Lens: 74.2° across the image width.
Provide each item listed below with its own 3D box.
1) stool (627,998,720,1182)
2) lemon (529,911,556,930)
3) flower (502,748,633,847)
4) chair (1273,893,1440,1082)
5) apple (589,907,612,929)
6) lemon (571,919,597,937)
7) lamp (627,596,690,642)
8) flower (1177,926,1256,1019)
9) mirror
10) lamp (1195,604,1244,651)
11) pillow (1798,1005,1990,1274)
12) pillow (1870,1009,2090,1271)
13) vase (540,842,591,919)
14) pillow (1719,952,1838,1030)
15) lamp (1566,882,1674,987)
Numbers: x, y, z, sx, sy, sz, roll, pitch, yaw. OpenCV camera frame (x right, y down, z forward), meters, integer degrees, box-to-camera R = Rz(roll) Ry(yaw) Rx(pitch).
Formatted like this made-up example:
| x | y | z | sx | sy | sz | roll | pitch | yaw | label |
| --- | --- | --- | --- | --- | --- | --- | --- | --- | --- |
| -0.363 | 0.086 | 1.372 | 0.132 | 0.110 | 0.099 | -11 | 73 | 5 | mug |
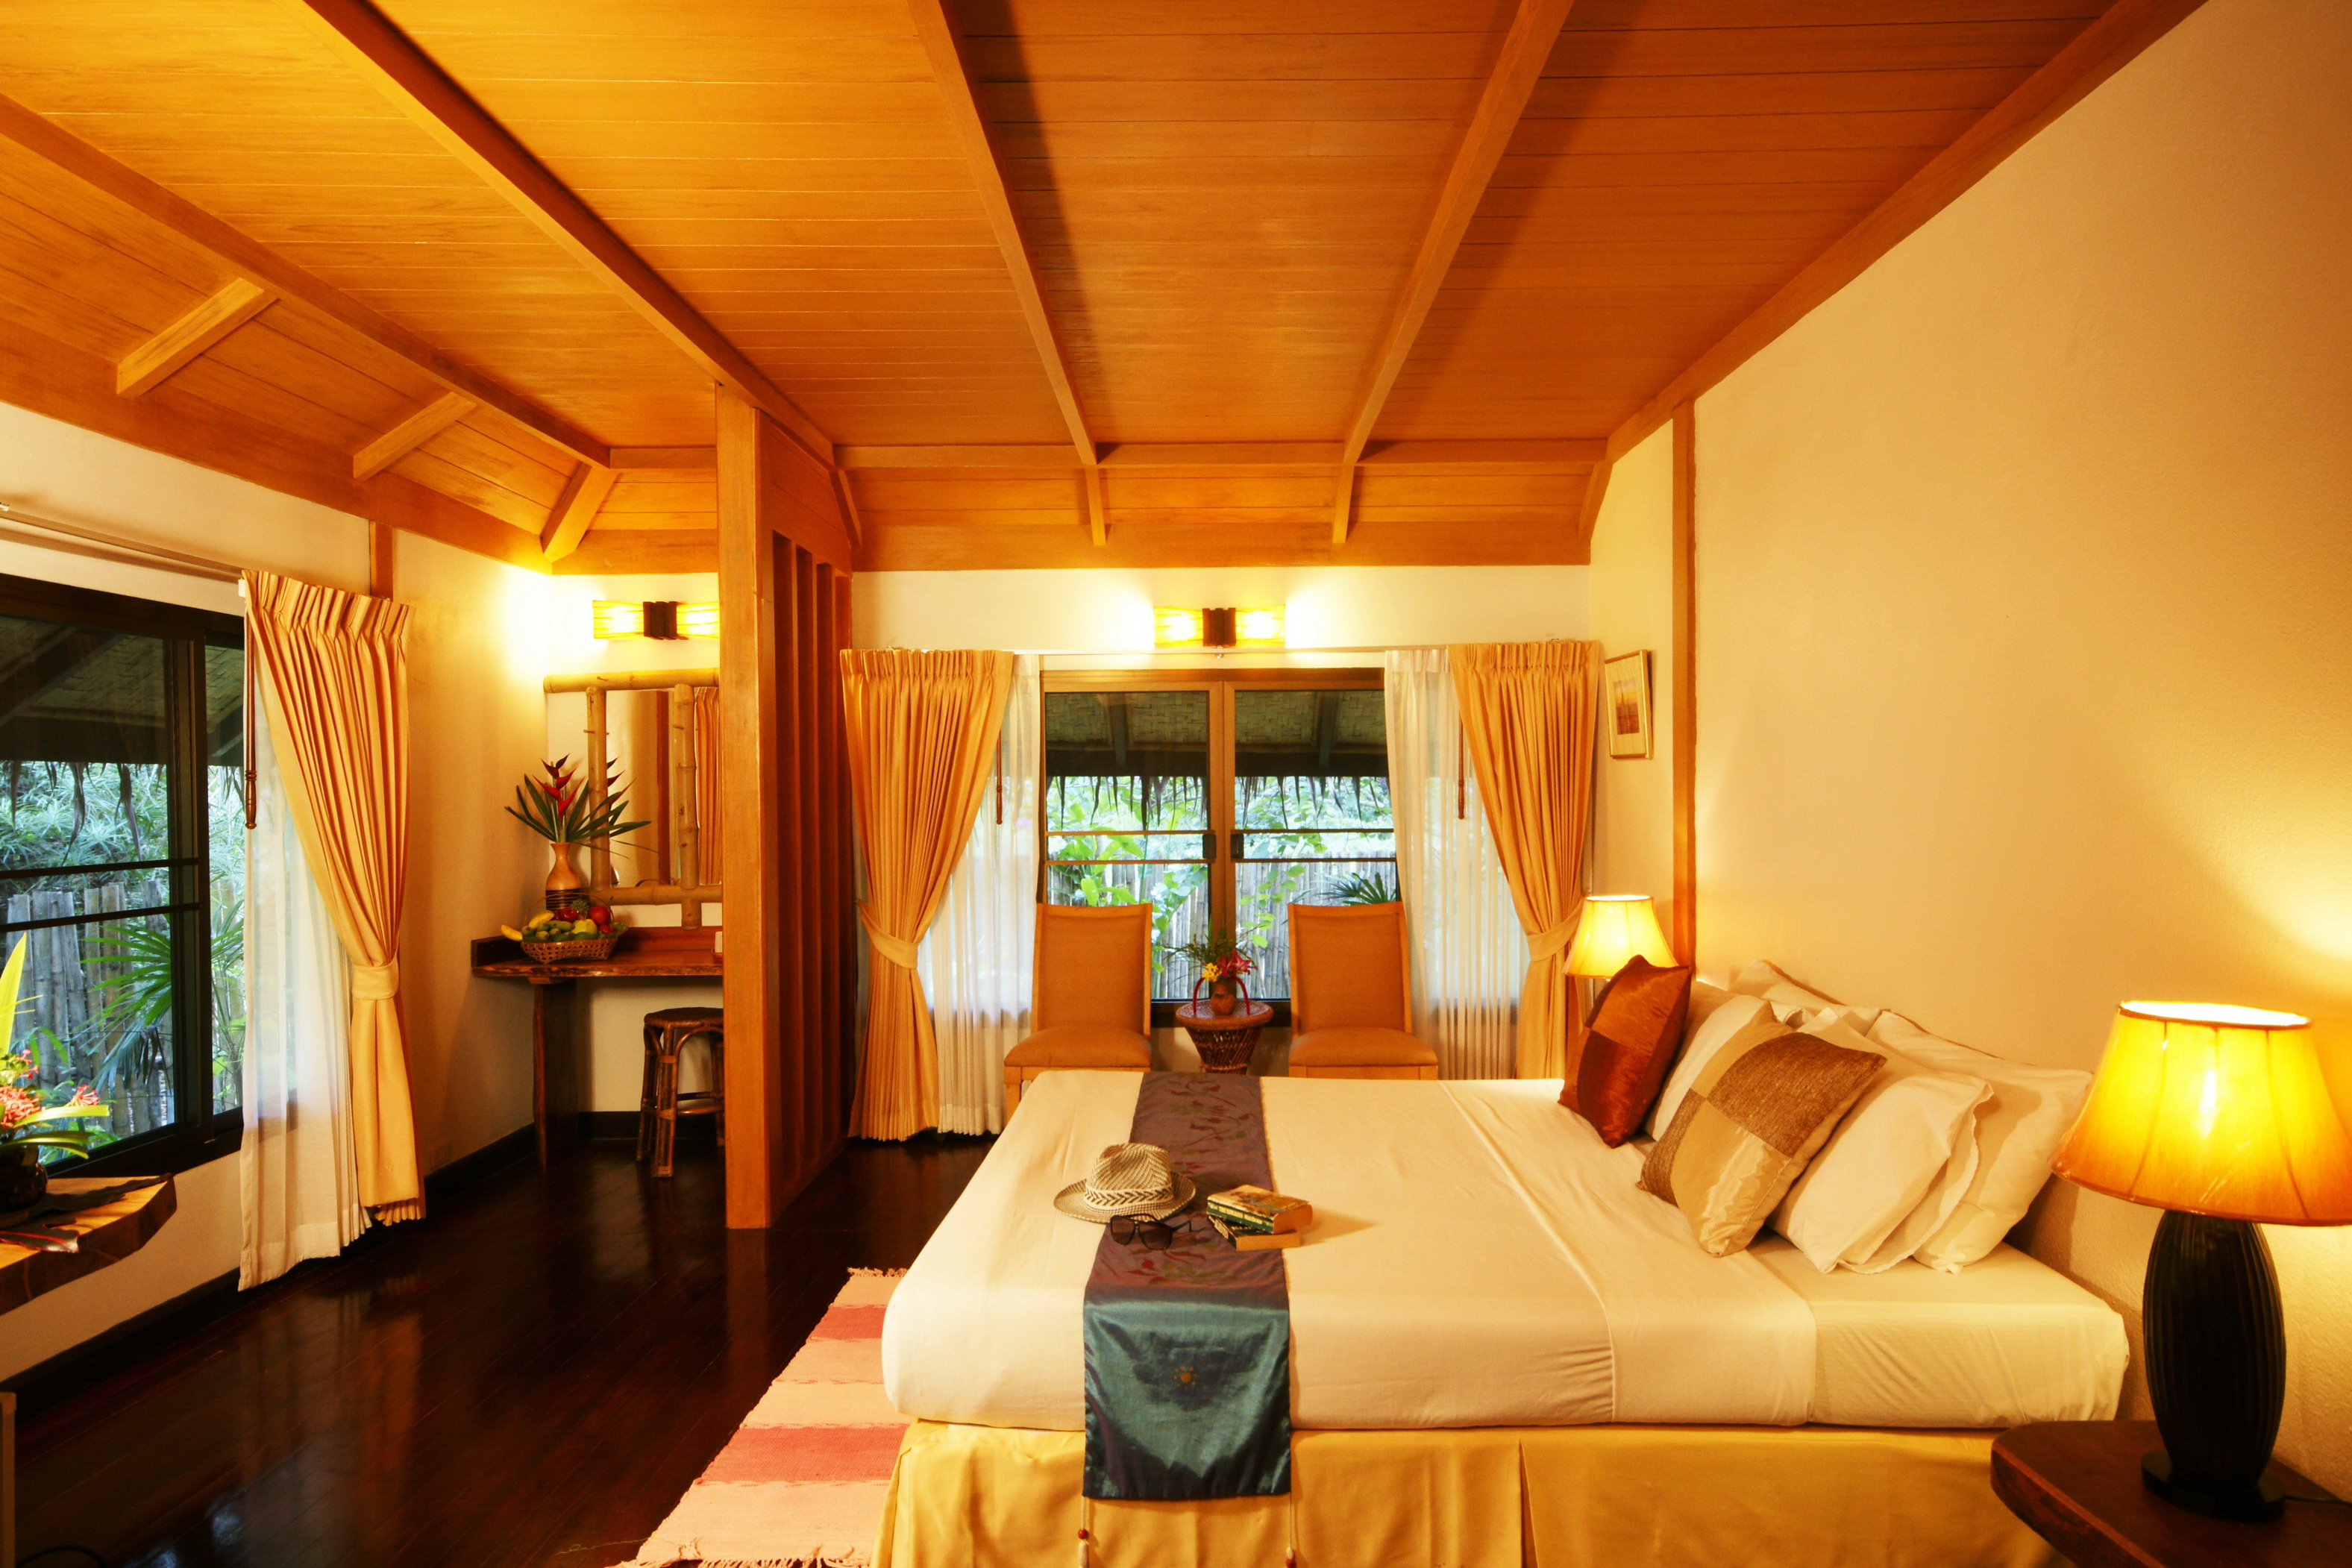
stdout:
| x | y | z | sx | sy | sz | roll | pitch | yaw | label |
| --- | --- | --- | --- | --- | --- | --- | --- | --- | --- |
| -2.226 | 1.329 | 6.936 | 0.357 | 0.753 | 0.543 | -1 | 0 | -19 | stool |
| -2.813 | 0.604 | 6.858 | 0.098 | 0.063 | 0.093 | 1 | -5 | -22 | lemon |
| -2.789 | 0.077 | 7.124 | 0.439 | 0.421 | 0.426 | -1 | 0 | 18 | flower |
| 0.793 | 1.087 | 6.872 | 0.615 | 0.978 | 0.713 | 0 | 7 | -2 | chair |
| -2.590 | 0.601 | 6.983 | 0.088 | 0.099 | 0.084 | 3 | -16 | 0 | apple |
| -2.603 | 0.632 | 6.817 | 0.074 | 0.067 | 0.070 | -1 | 3 | -8 | lemon |
| -2.402 | -0.761 | 7.224 | 0.188 | 0.167 | 0.177 | 1 | 12 | -2 | lamp |
| 0.177 | 0.890 | 7.128 | 0.332 | 0.320 | 0.321 | 0 | 3 | -8 | flower |
| -2.568 | 0.033 | 7.214 | 1.207 | 1.210 | 0.103 | 0 | -1 | -1 | mirror |
| 0.211 | -0.732 | 7.224 | 0.192 | 0.171 | 0.182 | 0 | 0 | 0 | lamp |
| 1.889 | 1.022 | 4.335 | 0.168 | 0.522 | 0.552 | 35 | 1 | -25 | pillow |
| 2.271 | 1.049 | 4.358 | 0.169 | 0.522 | 0.542 | 17 | 3 | -27 | pillow |
| -2.757 | 0.432 | 7.040 | 0.186 | 0.357 | 0.382 | -1 | 0 | -23 | vase |
| 2.016 | 0.689 | 5.162 | 0.199 | 0.061 | 0.300 | -16 | 6 | 12 | pillow |
| 1.713 | 0.585 | 5.994 | 0.374 | 0.318 | 0.364 | -2 | -4 | 21 | lamp |
